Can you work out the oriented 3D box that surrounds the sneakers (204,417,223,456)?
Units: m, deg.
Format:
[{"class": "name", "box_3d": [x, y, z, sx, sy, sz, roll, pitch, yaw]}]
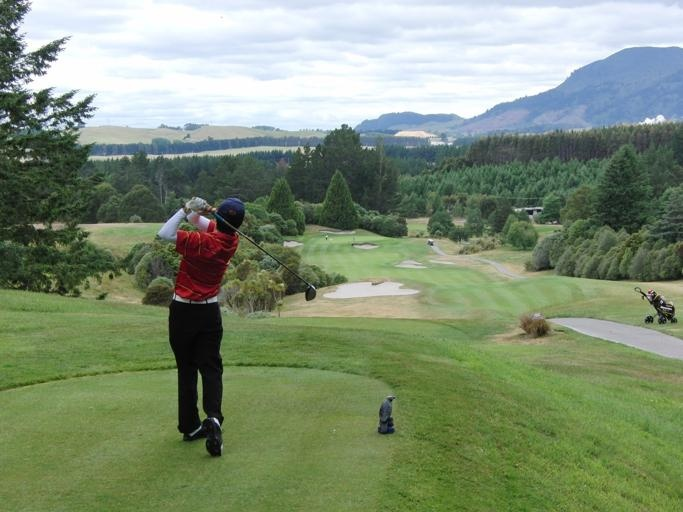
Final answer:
[{"class": "sneakers", "box_3d": [-2.098, 2.935, 10.168, 0.249, 0.630, 0.285, -3, 0, 9]}]

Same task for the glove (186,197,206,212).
[{"class": "glove", "box_3d": [-2.443, -0.887, 10.511, 0.227, 0.147, 0.304, 22, -26, -37]}]

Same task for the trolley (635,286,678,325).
[{"class": "trolley", "box_3d": [15.599, 2.434, 30.725, 1.239, 1.119, 4.494, 8, 6, 25]}]
